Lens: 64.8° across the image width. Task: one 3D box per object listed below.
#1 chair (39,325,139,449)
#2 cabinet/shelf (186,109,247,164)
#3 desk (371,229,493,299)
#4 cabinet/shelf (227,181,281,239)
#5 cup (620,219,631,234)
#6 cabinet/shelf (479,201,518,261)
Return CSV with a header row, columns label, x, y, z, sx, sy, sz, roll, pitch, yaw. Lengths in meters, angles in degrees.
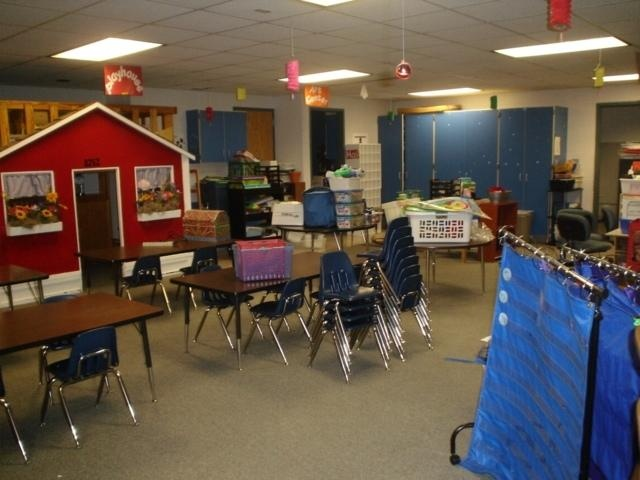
label,x,y,z,sx,sy,sz,roll,pitch,yaw
chair,-2.106,1.145,4.445,0.754,0.950,0.949,-9,15,-30
cabinet/shelf,-2.392,-2.352,11.576,0.543,1.181,1.503,9,16,32
desk,1.604,0.348,6.415,1.369,0.668,1.304,-5,-9,23
cabinet/shelf,-1.431,-0.607,10.525,0.679,1.821,1.211,4,8,34
cup,4.390,-0.186,7.270,0.128,0.240,0.328,6,15,29
cabinet/shelf,2.678,-0.155,7.685,0.441,0.931,1.095,10,16,30
